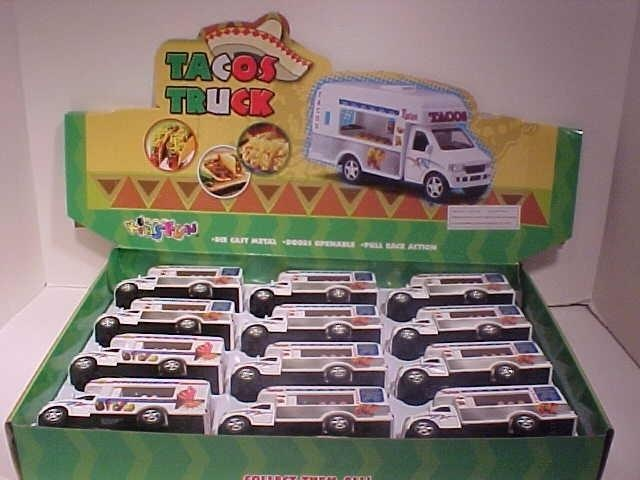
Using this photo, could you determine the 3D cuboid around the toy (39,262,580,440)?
[{"bbox_3d":[0.028,0.406,1.898,1.399,0.202,0.686,1,36,0],"label":"toy"}]
